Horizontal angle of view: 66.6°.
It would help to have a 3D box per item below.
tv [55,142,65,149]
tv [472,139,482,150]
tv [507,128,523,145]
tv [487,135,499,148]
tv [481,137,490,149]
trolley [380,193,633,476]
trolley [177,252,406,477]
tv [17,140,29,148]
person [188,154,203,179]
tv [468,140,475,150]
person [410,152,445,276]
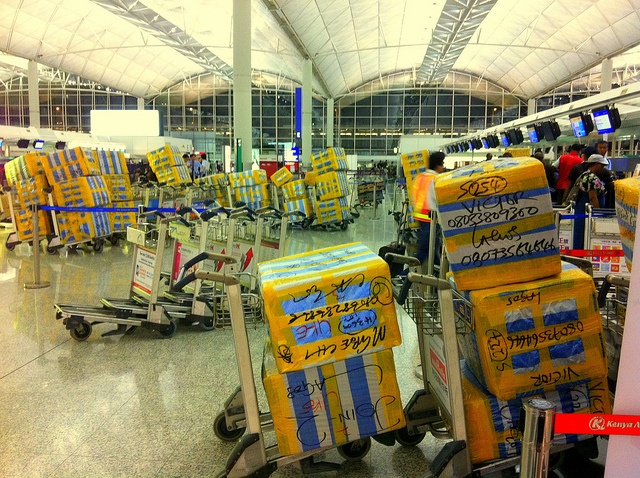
[{"bbox_3d":[-13.985,-5.009,26.230,0.435,0.464,0.314,-2,25,-23],"label":"tv"},{"bbox_3d":[7.462,-4.485,23.160,0.389,0.377,0.398,-2,-5,13],"label":"tv"},{"bbox_3d":[7.051,-3.710,17.690,0.322,0.662,0.624,-5,-3,-6],"label":"tv"},{"bbox_3d":[6.950,-3.931,19.603,0.267,0.571,0.535,-2,14,0],"label":"tv"},{"bbox_3d":[7.364,-4.278,21.710,0.127,0.500,0.498,-16,10,-7],"label":"tv"},{"bbox_3d":[1.341,0.809,3.975,0.960,1.865,1.575,-6,9,2],"label":"trolley"},{"bbox_3d":[-0.401,0.769,4.172,1.773,1.922,1.176,-7,10,-7],"label":"trolley"},{"bbox_3d":[-14.236,-4.542,23.387,0.448,0.366,0.404,-2,9,-14],"label":"tv"},{"bbox_3d":[-5.164,-3.010,20.235,0.517,0.951,2.505,-4,14,-14],"label":"person"},{"bbox_3d":[7.547,-4.681,24.183,0.376,0.596,0.136,0,1,10],"label":"tv"},{"bbox_3d":[1.516,-0.314,6.693,0.466,1.739,0.468,-2,29,7],"label":"person"}]
